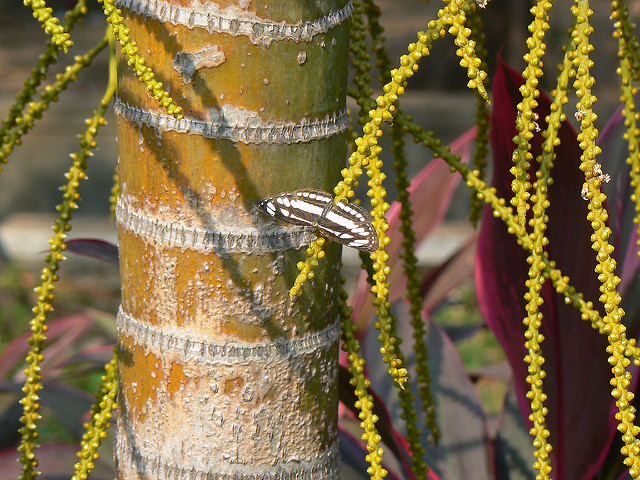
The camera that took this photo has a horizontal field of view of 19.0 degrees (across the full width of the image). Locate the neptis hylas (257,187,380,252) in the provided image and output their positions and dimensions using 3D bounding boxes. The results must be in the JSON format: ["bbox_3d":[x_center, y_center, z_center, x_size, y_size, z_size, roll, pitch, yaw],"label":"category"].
[{"bbox_3d":[-0.002,-0.053,5.345,0.344,0.163,0.121,3,9,28],"label":"neptis hylas"}]
